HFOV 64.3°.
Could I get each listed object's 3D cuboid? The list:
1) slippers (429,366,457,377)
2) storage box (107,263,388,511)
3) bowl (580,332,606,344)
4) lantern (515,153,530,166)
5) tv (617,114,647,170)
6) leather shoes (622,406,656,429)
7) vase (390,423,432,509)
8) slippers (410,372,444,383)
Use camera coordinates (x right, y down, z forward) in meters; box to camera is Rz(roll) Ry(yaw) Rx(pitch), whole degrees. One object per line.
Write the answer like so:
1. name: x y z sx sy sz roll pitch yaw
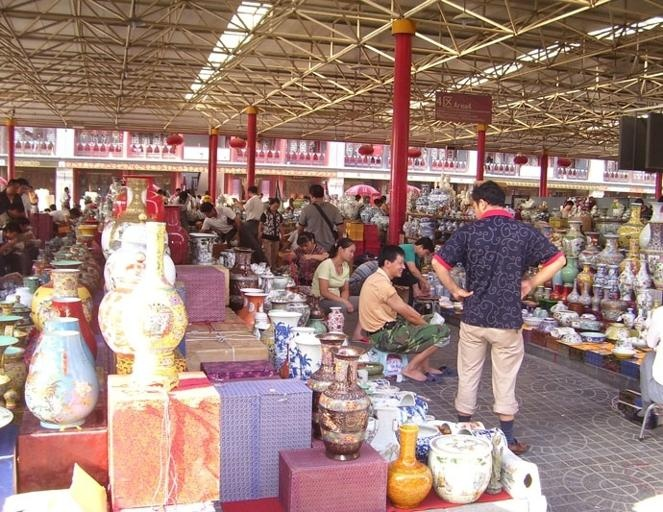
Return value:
1. slippers: 1.083 1.134 5.167 0.192 0.048 0.128 0 0 -25
2. storage box: -0.478 0.400 2.088 1.120 0.593 0.550 0 3 -17
3. bowl: 2.910 0.893 5.820 0.314 0.101 0.106 1 7 -10
4. lantern: 7.905 -4.050 22.081 0.466 0.396 1.147 5 7 20
5. tv: 4.800 -1.804 8.395 0.425 0.862 0.483 6 8 27
6. leather shoes: 2.475 1.282 4.212 0.072 0.125 0.201 3 12 -23
7. vase: 0.329 0.849 2.151 0.174 0.325 0.239 4 8 11
8. slippers: 0.892 1.137 4.956 0.275 0.061 0.116 -2 1 15
